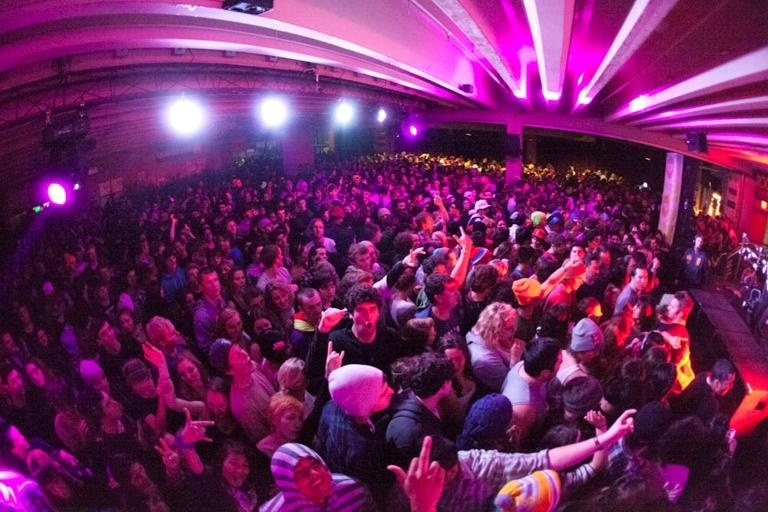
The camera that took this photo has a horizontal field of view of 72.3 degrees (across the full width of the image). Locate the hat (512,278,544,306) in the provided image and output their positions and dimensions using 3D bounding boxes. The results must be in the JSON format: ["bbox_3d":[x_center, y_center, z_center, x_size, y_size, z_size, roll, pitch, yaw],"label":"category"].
[{"bbox_3d":[1.447,0.348,5.333,0.296,0.245,0.230,-30,25,-32],"label":"hat"}]

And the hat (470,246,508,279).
[{"bbox_3d":[1.187,0.081,5.838,0.398,0.388,0.315,8,-22,17],"label":"hat"}]

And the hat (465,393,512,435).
[{"bbox_3d":[0.845,1.286,4.323,0.355,0.367,0.269,14,-6,14],"label":"hat"}]

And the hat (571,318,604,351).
[{"bbox_3d":[1.844,0.735,4.822,0.224,0.224,0.315,7,37,45],"label":"hat"}]

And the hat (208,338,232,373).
[{"bbox_3d":[-1.509,0.951,4.911,0.256,0.312,0.089,4,7,22],"label":"hat"}]

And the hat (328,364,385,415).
[{"bbox_3d":[-0.208,1.101,4.220,0.440,0.357,0.320,-4,18,-6],"label":"hat"}]
